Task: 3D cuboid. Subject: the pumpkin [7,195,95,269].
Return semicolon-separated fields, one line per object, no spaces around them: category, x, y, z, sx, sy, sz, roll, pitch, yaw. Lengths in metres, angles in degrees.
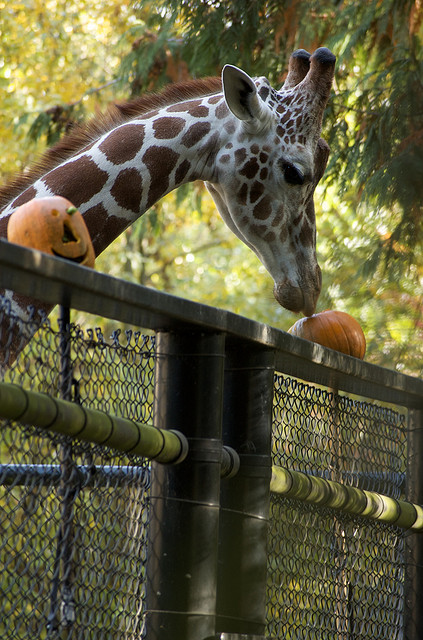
pumpkin;-0.453;-0.245;3.477;0.225;0.296;0.225;-7;-3;-28

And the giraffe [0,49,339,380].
giraffe;0.035;-0.605;5.487;1.850;1.863;0.771;3;-9;-9
